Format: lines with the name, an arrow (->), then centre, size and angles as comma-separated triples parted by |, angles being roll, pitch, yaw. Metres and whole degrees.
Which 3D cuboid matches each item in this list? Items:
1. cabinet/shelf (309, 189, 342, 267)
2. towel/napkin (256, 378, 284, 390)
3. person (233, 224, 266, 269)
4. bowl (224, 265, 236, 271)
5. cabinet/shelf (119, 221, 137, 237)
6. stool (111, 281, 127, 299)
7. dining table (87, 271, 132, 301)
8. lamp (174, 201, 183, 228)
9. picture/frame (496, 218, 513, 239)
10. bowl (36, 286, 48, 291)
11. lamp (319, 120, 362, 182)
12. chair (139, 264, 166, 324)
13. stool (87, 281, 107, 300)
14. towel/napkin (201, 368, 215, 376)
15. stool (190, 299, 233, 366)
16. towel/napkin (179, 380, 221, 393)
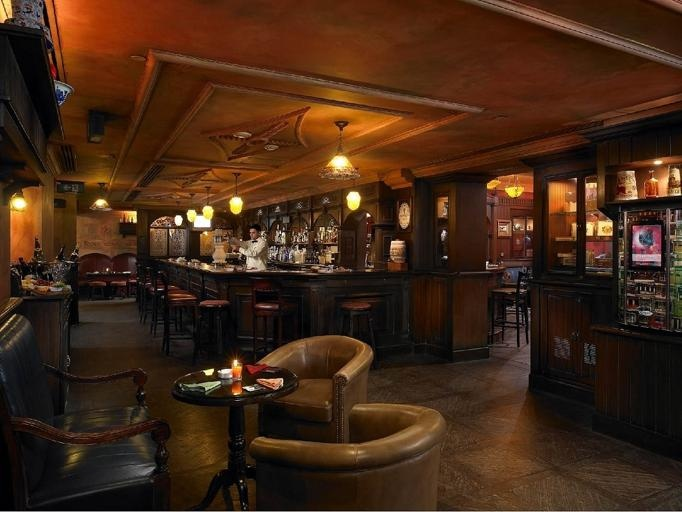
cabinet/shelf -> -0.357, -0.620, 10.730 | 0.425, 1.519, 1.385 | 0, 6, -18
towel/napkin -> -0.527, 0.941, 3.596 | 0.208, 0.033, 0.252 | 1, 4, -1
person -> -1.777, -0.006, 9.271 | 0.765, 1.040, 0.567 | 2, 10, -4
bowl -> -2.044, 0.226, 8.933 | 0.251, 0.086, 0.279 | 2, -4, -31
cabinet/shelf -> -7.259, -0.935, 16.737 | 0.849, 0.625, 0.433 | 1, 10, -13
stool -> -6.917, 1.080, 15.153 | 0.646, 0.700, 0.609 | 2, -4, -25
dining table -> -7.156, 0.871, 14.943 | 1.224, 0.484, 1.101 | 1, -3, -23
lamp -> -5.527, -1.264, 16.456 | 0.309, 0.550, 0.231 | -1, 7, -25
picture/frame -> 4.513, -0.774, 13.445 | 0.531, 0.487, 0.129 | -2, 8, -34
bowl -> -3.124, 0.337, 5.061 | 0.078, 0.046, 0.071 | 2, -2, 0
lamp -> -0.039, -1.293, 6.260 | 0.652, 0.580, 0.581 | 1, -3, -7
chair -> -3.907, 0.828, 9.992 | 0.510, 0.674, 1.395 | 1, 1, -21
stool -> -7.368, 1.043, 14.851 | 0.707, 0.645, 0.687 | 3, -4, -35
towel/napkin -> -1.070, 0.947, 3.926 | 0.092, 0.020, 0.091 | 2, -1, 3
stool -> -2.071, 1.097, 7.833 | 0.570, 0.969, 1.896 | 0, 5, -15
towel/napkin -> -1.008, 0.947, 3.514 | 0.287, 0.021, 0.244 | 0, 5, -22
